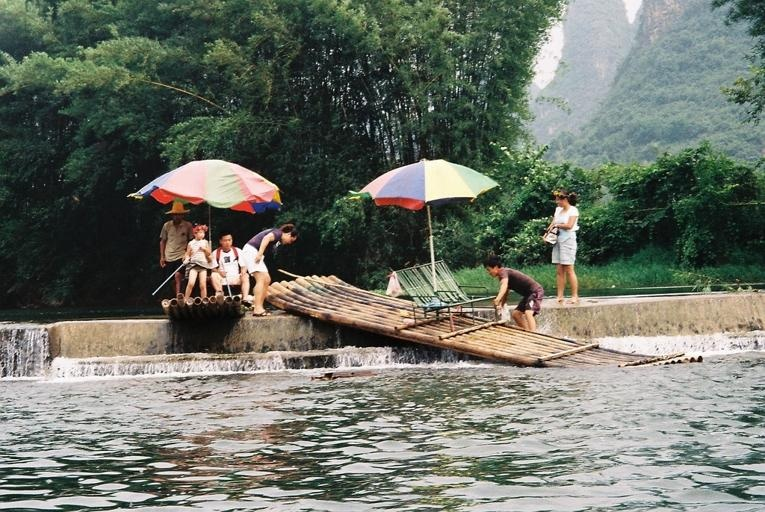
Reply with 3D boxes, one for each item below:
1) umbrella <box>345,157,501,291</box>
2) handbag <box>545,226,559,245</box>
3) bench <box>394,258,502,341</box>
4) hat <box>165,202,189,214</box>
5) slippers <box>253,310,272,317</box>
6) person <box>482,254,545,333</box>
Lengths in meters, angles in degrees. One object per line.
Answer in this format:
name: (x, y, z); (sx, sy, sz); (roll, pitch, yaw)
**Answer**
umbrella: (1.075, -0.923, 22.920); (3.235, 2.621, 2.987); (-7, 6, -38)
handbag: (4.293, -0.558, 22.838); (0.383, 0.489, 0.396); (0, -8, -8)
bench: (1.604, 1.037, 21.904); (1.939, 1.357, 2.074); (7, 13, 33)
hat: (-5.722, -1.289, 23.960); (0.687, 0.310, 0.676); (2, 6, 19)
slippers: (-3.059, 1.421, 22.490); (0.398, 0.097, 0.166); (-1, 3, 5)
person: (3.249, 1.082, 22.251); (1.590, 2.083, 1.176); (3, -10, 6)
